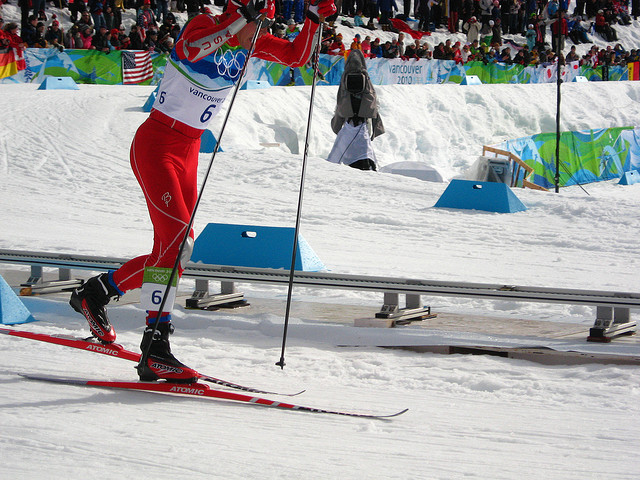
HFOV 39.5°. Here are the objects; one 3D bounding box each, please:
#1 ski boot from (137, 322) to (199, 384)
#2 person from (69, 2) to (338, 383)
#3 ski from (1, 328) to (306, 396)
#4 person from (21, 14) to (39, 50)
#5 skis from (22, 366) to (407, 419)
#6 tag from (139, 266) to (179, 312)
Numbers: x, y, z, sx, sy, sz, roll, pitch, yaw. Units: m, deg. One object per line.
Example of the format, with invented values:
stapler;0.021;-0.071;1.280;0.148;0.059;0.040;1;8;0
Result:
ski boot;-0.815;0.640;5.021;0.475;0.335;0.165;-1;-2;38
person;-0.732;-0.331;5.231;0.752;2.145;1.129;16;18;35
ski;-1.009;0.730;5.223;1.099;0.090;0.090;15;58;15
person;-5.962;-4.239;18.258;0.339;0.681;0.705;0;14;-18
skis;-0.632;0.849;4.910;1.459;0.062;0.128;5;6;3
tag;-0.917;0.282;5.053;0.201;0.250;0.128;4;14;-1
